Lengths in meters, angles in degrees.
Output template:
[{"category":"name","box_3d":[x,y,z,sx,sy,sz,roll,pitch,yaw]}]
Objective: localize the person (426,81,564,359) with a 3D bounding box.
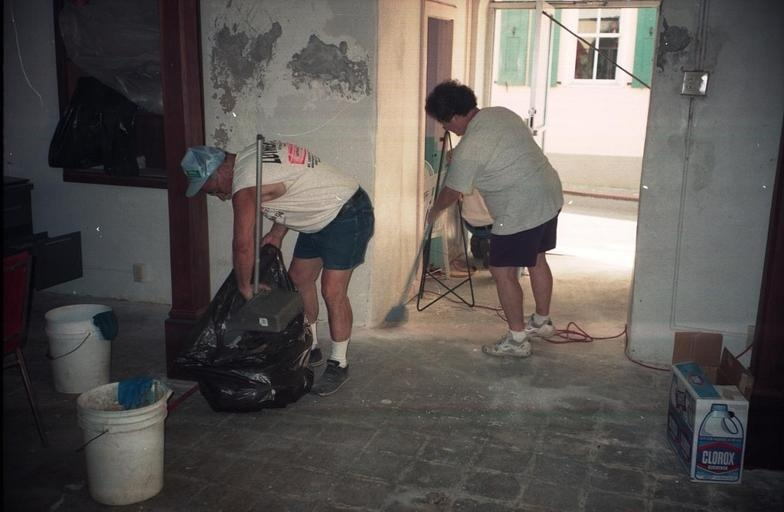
[{"category":"person","box_3d":[0.829,-0.289,5.079,1.102,2.180,0.494,0,11,-1]}]

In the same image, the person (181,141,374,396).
[{"category":"person","box_3d":[-0.757,0.095,4.515,1.190,1.811,0.480,-6,12,-31]}]

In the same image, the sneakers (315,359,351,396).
[{"category":"sneakers","box_3d":[-0.449,0.887,4.672,0.128,0.138,0.361,10,15,19]}]

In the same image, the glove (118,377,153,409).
[{"category":"glove","box_3d":[-1.546,0.814,3.803,0.195,0.189,0.052,-2,3,-6]}]

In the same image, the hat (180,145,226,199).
[{"category":"hat","box_3d":[-1.237,-0.569,4.190,0.275,0.317,0.163,-3,11,-16]}]

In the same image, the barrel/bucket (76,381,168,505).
[{"category":"barrel/bucket","box_3d":[-1.499,1.077,3.918,0.663,0.590,0.643,5,8,-1]}]

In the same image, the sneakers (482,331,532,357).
[{"category":"sneakers","box_3d":[0.928,0.699,5.168,0.446,0.212,0.165,2,14,5]}]

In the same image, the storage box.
[{"category":"storage box","box_3d":[2.027,0.981,4.022,0.465,0.872,0.676,-2,13,11]}]

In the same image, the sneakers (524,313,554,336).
[{"category":"sneakers","box_3d":[1.262,0.601,5.515,0.140,0.132,0.278,-3,16,-5]}]
